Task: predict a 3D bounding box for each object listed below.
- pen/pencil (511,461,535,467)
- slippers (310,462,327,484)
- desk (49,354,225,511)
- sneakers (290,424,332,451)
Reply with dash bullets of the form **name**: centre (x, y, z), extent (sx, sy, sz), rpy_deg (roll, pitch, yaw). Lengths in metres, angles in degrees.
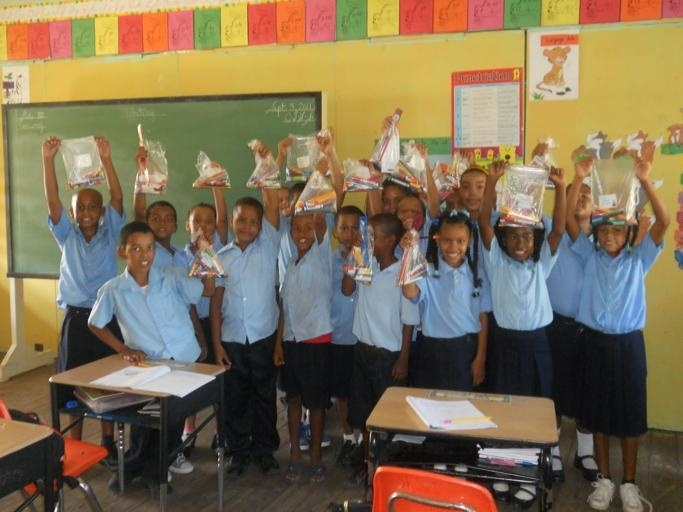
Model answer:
- **pen/pencil**: centre (0.809, 0.919, 3.262), extent (0.095, 0.024, 0.009), rpy_deg (-2, 9, 2)
- **slippers**: centre (-0.129, 1.229, 4.156), extent (0.073, 0.058, 0.212), rpy_deg (0, -9, -2)
- **desk**: centre (-0.961, 0.655, 3.847), extent (0.876, 0.970, 0.734), rpy_deg (1, 4, 23)
- **sneakers**: centre (-0.204, 1.121, 4.569), extent (0.278, 0.218, 0.102), rpy_deg (-1, -1, 28)
